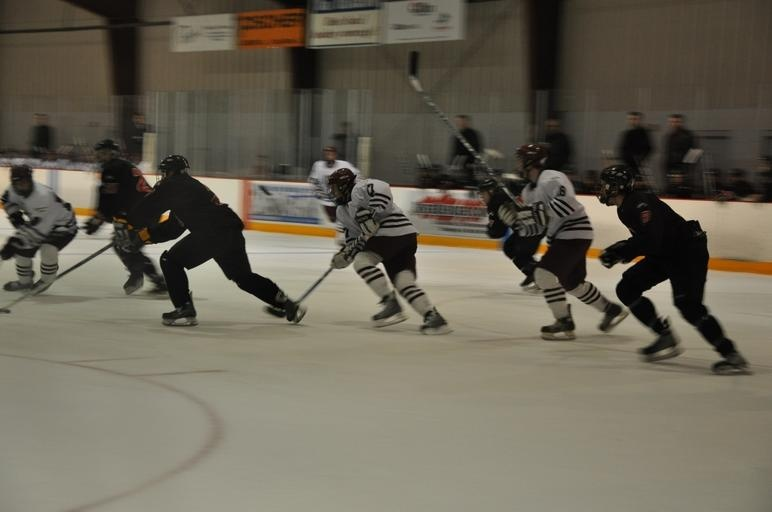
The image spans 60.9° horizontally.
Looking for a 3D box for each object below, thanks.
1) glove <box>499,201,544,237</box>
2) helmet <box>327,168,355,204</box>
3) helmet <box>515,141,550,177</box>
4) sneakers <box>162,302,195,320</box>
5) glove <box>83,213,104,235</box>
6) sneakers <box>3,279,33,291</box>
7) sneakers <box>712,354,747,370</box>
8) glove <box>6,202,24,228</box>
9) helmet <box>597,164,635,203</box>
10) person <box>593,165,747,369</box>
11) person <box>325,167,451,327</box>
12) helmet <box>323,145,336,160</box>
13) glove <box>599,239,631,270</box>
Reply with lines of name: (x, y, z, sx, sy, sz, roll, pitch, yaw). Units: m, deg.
glove: (1.216, -0.314, 5.688, 0.366, 0.142, 0.337, 18, -4, -35)
helmet: (-0.384, -0.588, 5.542, 0.241, 0.299, 0.205, -2, 8, -5)
helmet: (1.297, -0.845, 5.767, 0.281, 0.277, 0.313, -1, 3, -21)
sneakers: (-1.814, 0.499, 5.649, 0.296, 0.160, 0.127, 5, -3, -9)
glove: (-3.111, -0.323, 6.915, 0.052, 0.222, 0.212, 45, 8, -44)
sneakers: (-3.884, 0.299, 6.920, 0.418, 0.131, 0.127, 3, -1, 6)
sneakers: (2.373, 0.732, 4.521, 0.219, 0.151, 0.095, 2, 9, 23)
glove: (-3.874, -0.415, 6.800, 0.147, 0.249, 0.237, -6, 9, -31)
helmet: (1.724, -0.517, 4.814, 0.302, 0.243, 0.240, -2, 7, 26)
person: (2.007, 0.078, 4.656, 0.971, 1.440, 0.452, 1, 9, 15)
person: (-0.168, -0.084, 5.592, 0.983, 1.505, 0.749, -14, -21, 16)
helmet: (-0.832, -1.500, 9.601, 0.157, 0.209, 0.379, -2, 7, -2)
glove: (1.617, -0.013, 4.690, 0.108, 0.127, 0.227, -24, 4, -28)
